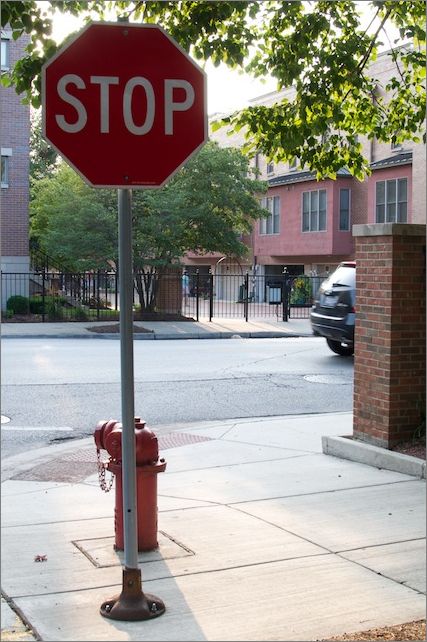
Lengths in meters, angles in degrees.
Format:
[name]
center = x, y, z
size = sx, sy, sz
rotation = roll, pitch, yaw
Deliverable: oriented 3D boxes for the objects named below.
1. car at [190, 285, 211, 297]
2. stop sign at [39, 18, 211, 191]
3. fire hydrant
[car]
center = -1.025, -1.993, 54.430
size = 1.476, 0.995, 2.162
rotation = 0, 3, -5
[stop sign]
center = -0.359, -0.884, 3.115
size = 0.735, 0.657, 0.035
rotation = -7, 17, -29
[fire hydrant]
center = -0.472, 0.937, 4.285
size = 0.391, 0.781, 0.797
rotation = 0, 1, -8
